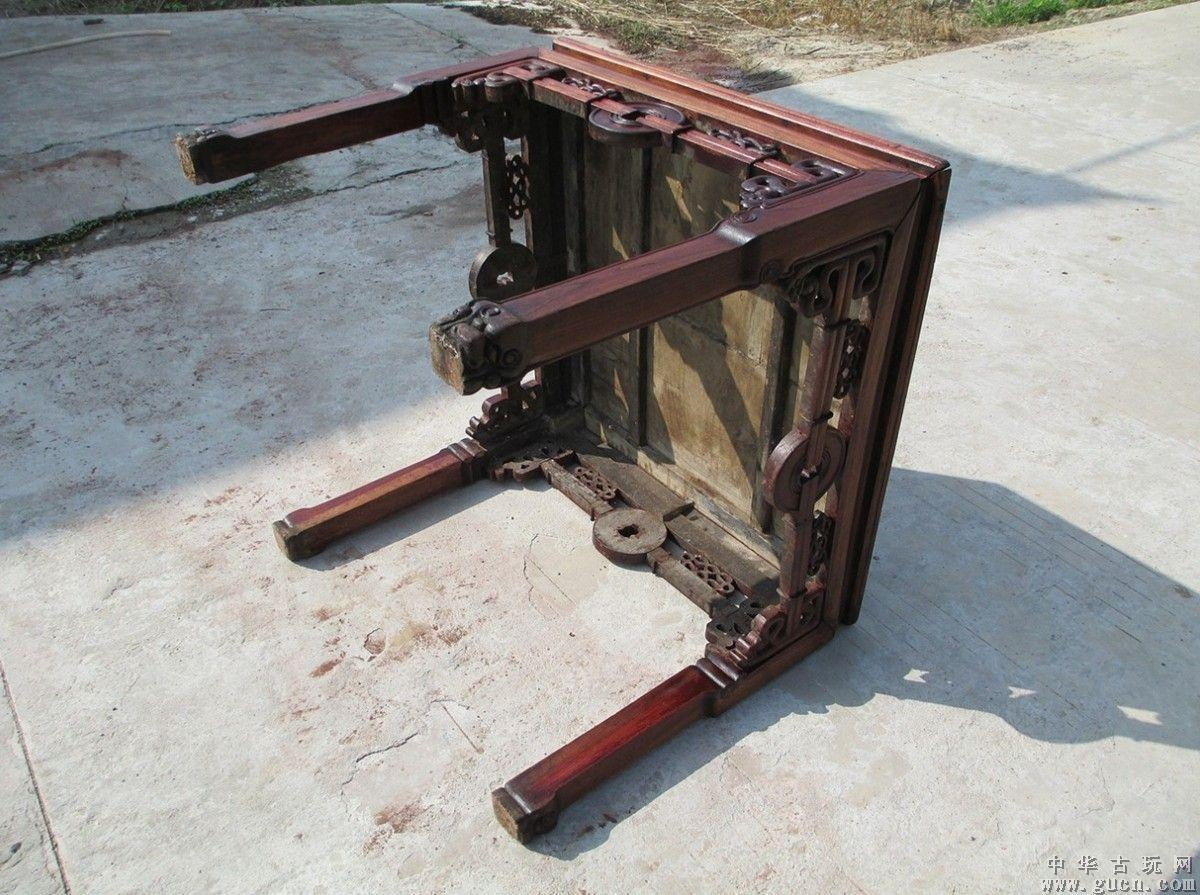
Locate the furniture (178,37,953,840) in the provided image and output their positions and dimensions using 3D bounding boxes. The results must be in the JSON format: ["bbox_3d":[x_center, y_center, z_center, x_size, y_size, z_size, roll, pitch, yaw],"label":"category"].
[{"bbox_3d":[-0.169,-0.242,3.700,1.946,2.397,2.349,-29,47,-32],"label":"furniture"}]
